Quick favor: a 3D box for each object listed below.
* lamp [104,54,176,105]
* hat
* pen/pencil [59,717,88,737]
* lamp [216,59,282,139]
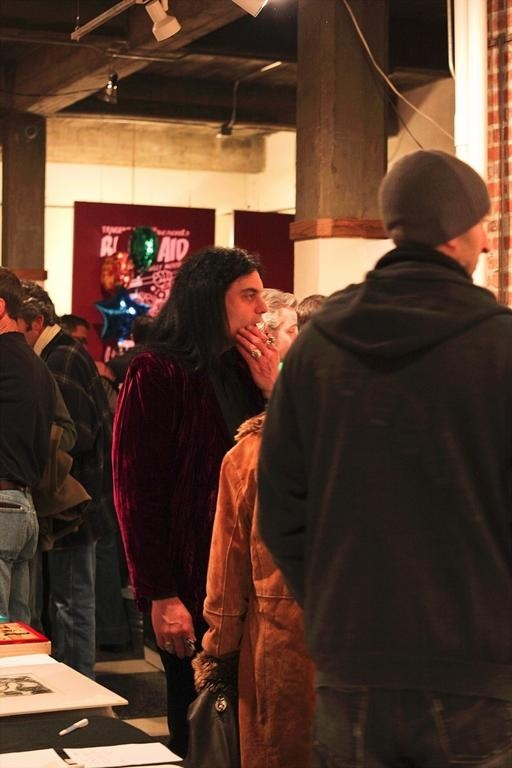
[{"bbox_3d":[-1.063,-2.754,7.435,0.742,0.137,0.494,0,-27,-9],"label":"lamp"},{"bbox_3d":[0.228,-0.237,1.143,0.146,0.111,0.132,-16,33,-22],"label":"hat"},{"bbox_3d":[-0.319,0.604,1.454,0.012,0.017,0.073,-19,-3,36],"label":"pen/pencil"},{"bbox_3d":[-0.066,-2.728,7.831,0.112,0.141,0.963,26,-36,-14],"label":"lamp"}]
